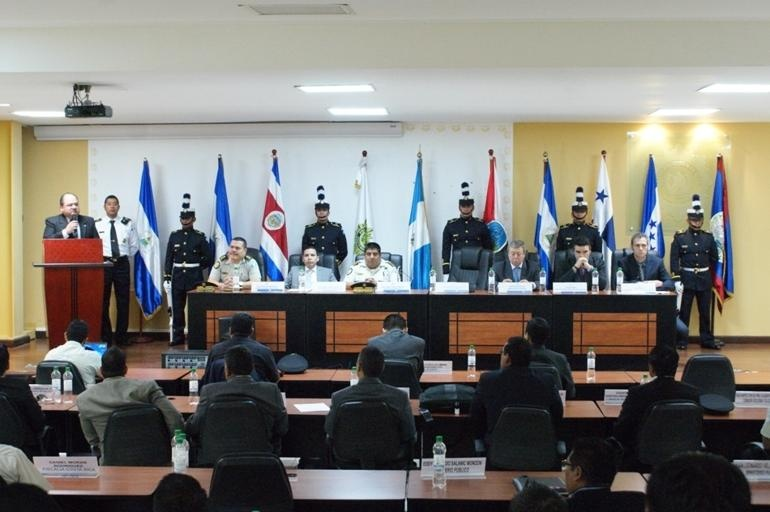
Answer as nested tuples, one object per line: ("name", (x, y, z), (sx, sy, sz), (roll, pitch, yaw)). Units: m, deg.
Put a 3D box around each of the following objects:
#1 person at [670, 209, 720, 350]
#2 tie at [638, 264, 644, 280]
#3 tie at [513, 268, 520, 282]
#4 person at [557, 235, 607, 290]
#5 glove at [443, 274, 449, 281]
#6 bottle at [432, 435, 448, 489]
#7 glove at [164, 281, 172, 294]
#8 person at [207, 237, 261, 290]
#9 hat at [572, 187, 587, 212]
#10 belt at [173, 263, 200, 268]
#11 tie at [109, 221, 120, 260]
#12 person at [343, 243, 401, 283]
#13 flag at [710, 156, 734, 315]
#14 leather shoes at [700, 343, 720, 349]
("person", (4.749, 0.166, 13.381), (0.718, 2.197, 0.663), (-4, 22, 14))
("tie", (3.620, 0.232, 12.382), (0.075, 0.221, 0.116), (1, 2, 16))
("tie", (1.812, 0.254, 12.106), (0.136, 0.193, 0.274), (1, 2, 9))
("person", (2.708, 0.383, 12.177), (0.569, 1.276, 0.676), (5, 11, 17))
("glove", (0.906, 0.338, 13.180), (0.084, 0.100, 0.086), (0, -3, -2))
("bottle", (0.494, 1.862, 8.026), (0.134, 0.490, 0.338), (1, 2, 4))
("glove", (-3.320, 0.495, 13.326), (0.140, 0.158, 0.199), (0, 0, -6))
("person", (-2.119, 0.150, 12.127), (0.757, 1.171, 0.685), (0, -3, -1))
("hat", (2.951, -0.866, 13.376), (0.199, 0.369, 0.627), (1, 2, 12))
("belt", (-3.045, 0.146, 13.409), (0.371, 0.059, 0.098), (0, 2, -15))
("tie", (-4.133, -0.244, 13.373), (0.133, 0.562, 0.081), (0, 2, -19))
("person", (-0.184, 0.214, 12.300), (0.731, 0.751, 0.407), (0, 5, 3))
("flag", (5.148, -0.141, 13.516), (0.484, 2.833, 0.387), (-5, 30, 12))
("leather shoes", (4.842, 1.367, 13.061), (0.295, 0.123, 0.103), (-2, 0, 19))
